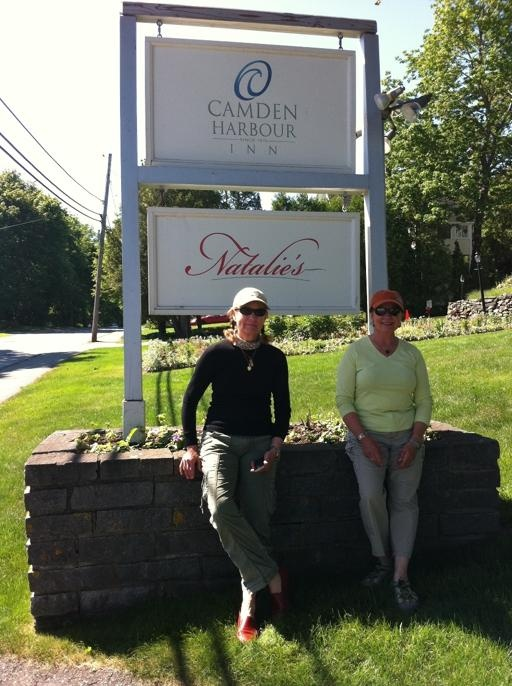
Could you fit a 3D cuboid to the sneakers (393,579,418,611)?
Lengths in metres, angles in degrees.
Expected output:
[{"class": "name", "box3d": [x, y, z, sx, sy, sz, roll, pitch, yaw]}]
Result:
[{"class": "sneakers", "box3d": [0.776, 1.326, 3.521, 0.112, 0.089, 0.195, -5, 6, 5]}]

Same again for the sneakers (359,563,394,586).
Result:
[{"class": "sneakers", "box3d": [0.678, 1.298, 3.805, 0.203, 0.078, 0.077, -2, 5, -42]}]

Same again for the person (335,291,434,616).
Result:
[{"class": "person", "box3d": [0.720, 0.519, 3.865, 0.538, 1.608, 0.857, -4, 6, 17]}]

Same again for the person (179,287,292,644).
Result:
[{"class": "person", "box3d": [-0.134, 0.569, 3.692, 0.581, 1.705, 0.909, -5, 6, 12]}]

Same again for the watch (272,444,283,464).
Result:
[{"class": "watch", "box3d": [0.109, 0.599, 3.699, 0.063, 0.085, 0.032, -1, -9, 38]}]

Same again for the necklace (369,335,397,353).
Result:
[{"class": "necklace", "box3d": [0.775, 0.004, 4.046, 0.109, 0.101, 0.036, 0, -4, 0]}]

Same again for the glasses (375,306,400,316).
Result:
[{"class": "glasses", "box3d": [0.789, -0.196, 4.047, 0.079, 0.027, 0.080, 1, -25, 6]}]

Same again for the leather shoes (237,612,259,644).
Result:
[{"class": "leather shoes", "box3d": [-0.043, 1.411, 3.331, 0.112, 0.074, 0.185, -6, 6, -2]}]

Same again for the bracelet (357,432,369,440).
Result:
[{"class": "bracelet", "box3d": [0.601, 0.534, 3.845, 0.051, 0.032, 0.046, -23, -22, -4]}]

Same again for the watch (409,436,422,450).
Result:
[{"class": "watch", "box3d": [0.903, 0.572, 3.835, 0.058, 0.041, 0.058, -3, 6, -24]}]

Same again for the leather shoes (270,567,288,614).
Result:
[{"class": "leather shoes", "box3d": [0.121, 1.315, 3.572, 0.079, 0.210, 0.078, 0, 6, 42]}]

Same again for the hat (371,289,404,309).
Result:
[{"class": "hat", "box3d": [0.772, -0.270, 4.143, 0.166, 0.114, 0.263, 4, -9, 2]}]

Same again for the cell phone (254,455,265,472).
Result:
[{"class": "cell phone", "box3d": [0.017, 0.657, 3.632, 0.078, 0.086, 0.100, -6, 5, -1]}]
